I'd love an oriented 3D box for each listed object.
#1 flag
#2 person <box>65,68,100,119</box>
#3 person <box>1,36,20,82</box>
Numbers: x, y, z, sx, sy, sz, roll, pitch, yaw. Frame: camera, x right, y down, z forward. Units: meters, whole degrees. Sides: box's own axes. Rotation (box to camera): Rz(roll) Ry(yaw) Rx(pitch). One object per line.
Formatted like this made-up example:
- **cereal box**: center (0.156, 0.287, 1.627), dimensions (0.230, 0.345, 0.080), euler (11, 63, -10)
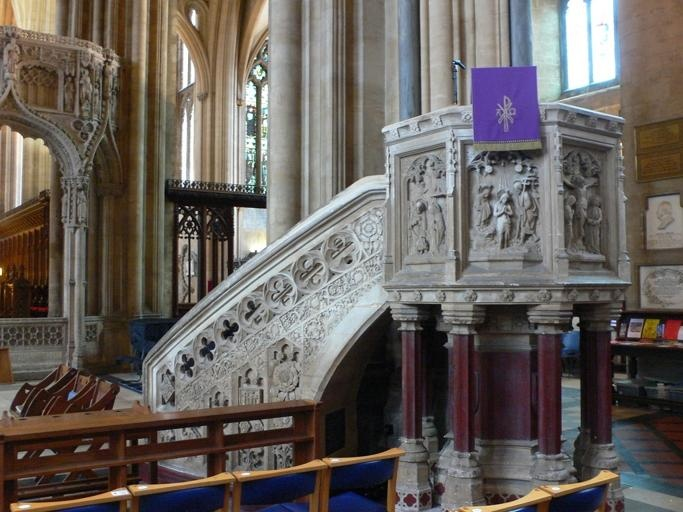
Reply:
- **flag**: center (1.858, -1.658, 12.594), dimensions (1.001, 1.156, 0.100), euler (-1, -5, 2)
- **person**: center (-4.882, -3.132, 21.176), dimensions (0.261, 0.961, 0.774), euler (-3, -5, 36)
- **person**: center (-5.998, -3.662, 20.345), dimensions (0.302, 0.856, 0.172), euler (1, -4, -18)
